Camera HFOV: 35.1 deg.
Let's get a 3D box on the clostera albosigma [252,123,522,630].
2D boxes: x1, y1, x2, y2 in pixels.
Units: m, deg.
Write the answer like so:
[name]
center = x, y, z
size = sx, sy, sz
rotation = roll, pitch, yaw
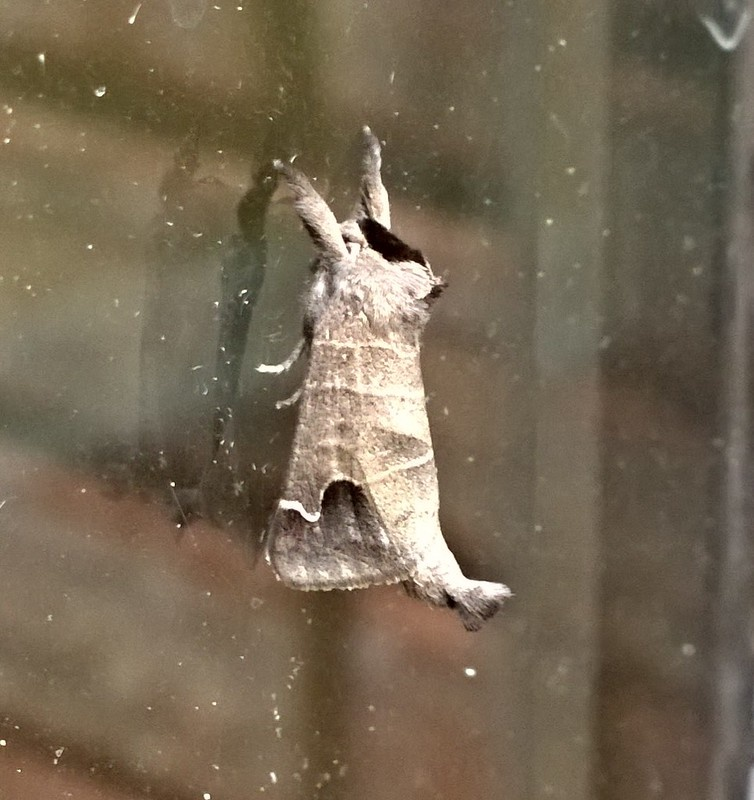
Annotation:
[clostera albosigma]
center = 0.012, -0.019, 1.590
size = 0.327, 0.220, 0.577
rotation = -3, 90, -25
